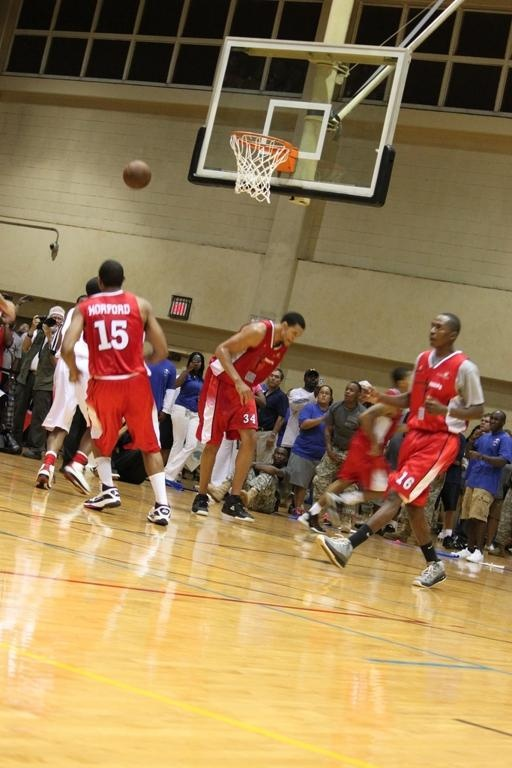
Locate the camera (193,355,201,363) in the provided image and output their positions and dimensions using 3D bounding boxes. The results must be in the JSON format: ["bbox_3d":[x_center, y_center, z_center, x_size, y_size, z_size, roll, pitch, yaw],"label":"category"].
[{"bbox_3d":[-0.855,-0.352,8.577,0.126,0.091,0.158,0,2,-6],"label":"camera"}]

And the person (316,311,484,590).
[{"bbox_3d":[1.062,0.415,3.896,0.679,1.861,1.038,13,1,20],"label":"person"}]

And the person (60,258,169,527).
[{"bbox_3d":[-0.919,0.058,3.997,0.742,1.724,0.596,0,3,-2],"label":"person"}]

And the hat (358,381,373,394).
[{"bbox_3d":[1.026,0.032,5.629,0.167,0.115,0.245,-7,3,11],"label":"hat"}]

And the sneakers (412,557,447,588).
[{"bbox_3d":[1.137,1.245,3.908,0.111,0.146,0.332,-6,-9,38],"label":"sneakers"}]

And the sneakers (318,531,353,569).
[{"bbox_3d":[0.442,0.984,3.473,0.273,0.195,0.097,11,2,-39],"label":"sneakers"}]

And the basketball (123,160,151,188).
[{"bbox_3d":[-1.614,-2.857,8.096,0.317,0.390,0.344,12,1,-18],"label":"basketball"}]
